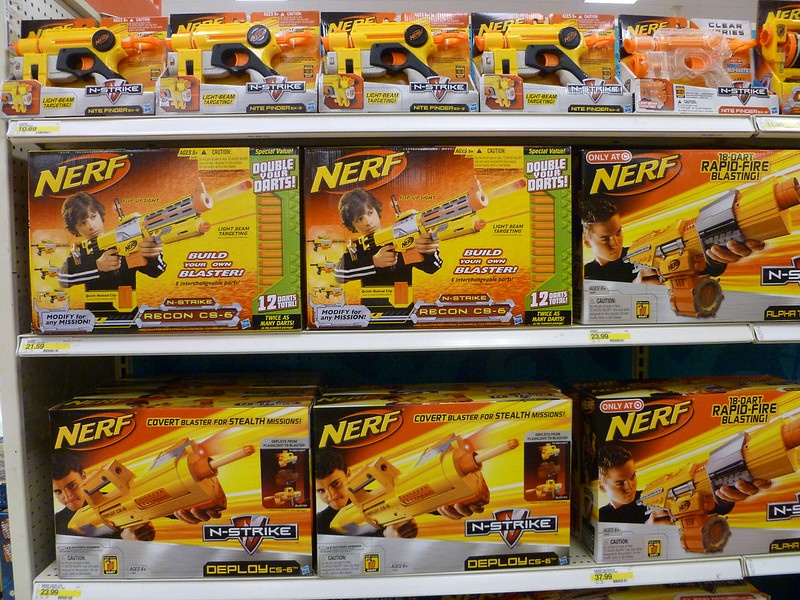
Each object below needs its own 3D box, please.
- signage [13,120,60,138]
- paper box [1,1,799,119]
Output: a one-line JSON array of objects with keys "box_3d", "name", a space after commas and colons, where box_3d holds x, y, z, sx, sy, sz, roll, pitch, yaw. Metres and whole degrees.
[{"box_3d": [-1.014, -0.476, 1.909, 0.138, 0.046, 0.030, -5, 17, 1], "name": "signage"}, {"box_3d": [-0.002, -0.672, 1.964, 1.454, 0.186, 0.292, 1, 11, -1], "name": "paper box"}]
